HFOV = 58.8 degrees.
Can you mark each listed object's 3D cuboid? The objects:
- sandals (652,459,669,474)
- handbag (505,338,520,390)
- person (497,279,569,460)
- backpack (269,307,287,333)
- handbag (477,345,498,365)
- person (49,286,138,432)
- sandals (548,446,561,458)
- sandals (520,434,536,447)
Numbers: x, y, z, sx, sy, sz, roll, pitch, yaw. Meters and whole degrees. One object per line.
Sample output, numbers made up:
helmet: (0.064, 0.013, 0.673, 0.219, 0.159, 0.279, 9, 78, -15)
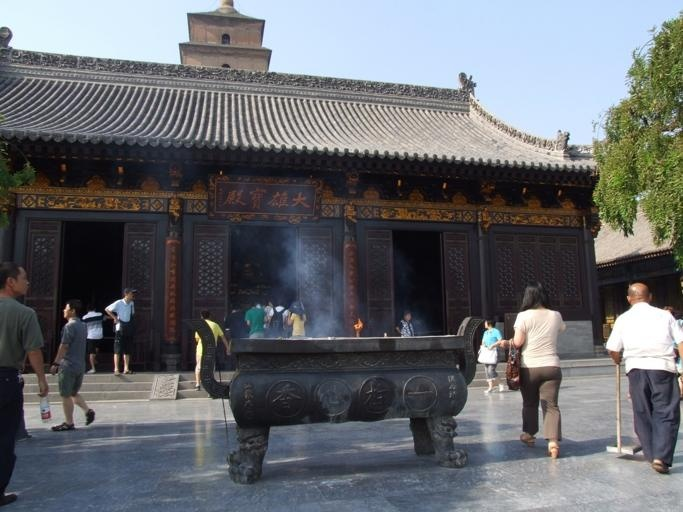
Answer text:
sandals: (2.975, 1.962, 5.646, 0.164, 0.122, 0.072, -1, -3, -1)
handbag: (1.839, 1.200, 6.504, 0.131, 0.498, 0.227, -2, -3, 15)
person: (2.053, 1.168, 6.462, 0.562, 1.751, 0.561, -3, -4, 36)
backpack: (-1.393, 1.453, 13.450, 0.427, 0.566, 0.200, 2, 9, -29)
handbag: (2.693, 1.835, 11.193, 0.448, 0.418, 0.207, -7, -23, 38)
person: (-4.180, 1.791, 10.279, 1.323, 3.041, 1.090, -5, -19, 5)
sandals: (2.118, 1.970, 6.070, 0.087, 0.102, 0.118, 2, -20, 5)
sandals: (1.985, 1.981, 6.511, 0.092, 0.124, 0.184, 0, 1, -5)
